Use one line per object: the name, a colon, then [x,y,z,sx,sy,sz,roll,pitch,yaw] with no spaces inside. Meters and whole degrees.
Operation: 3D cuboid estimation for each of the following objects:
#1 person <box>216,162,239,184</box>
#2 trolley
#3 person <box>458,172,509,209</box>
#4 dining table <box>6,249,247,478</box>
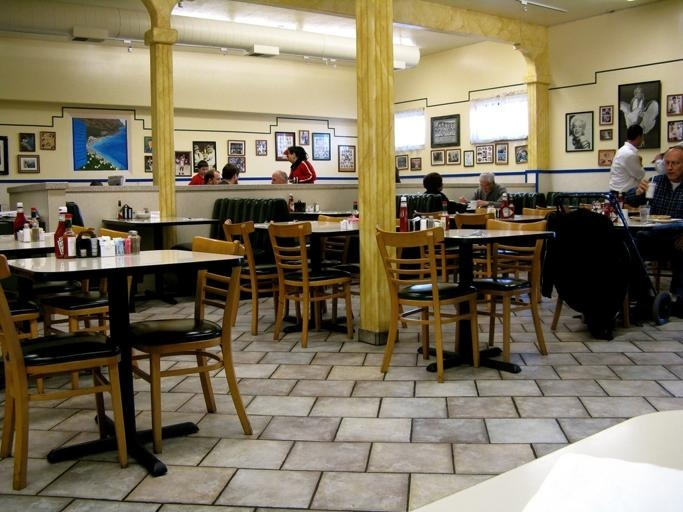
person: [-1.882,-1.360,8.722,0.300,0.361,0.812,-3,7,-13]
trolley: [2.336,0.034,4.535,0.969,1.089,0.819,-10,14,-34]
person: [2.227,-0.953,8.180,0.617,0.569,0.857,6,19,40]
dining table: [-1.183,0.465,2.968,1.202,0.969,1.132,-4,5,-32]
